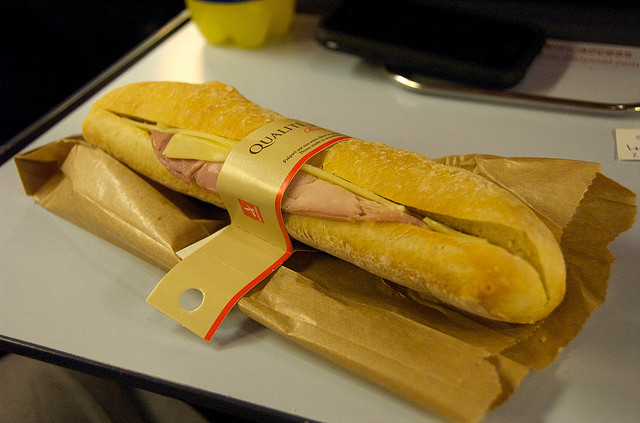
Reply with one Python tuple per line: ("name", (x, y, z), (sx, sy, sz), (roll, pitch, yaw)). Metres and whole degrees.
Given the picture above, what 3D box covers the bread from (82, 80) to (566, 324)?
("bread", (-0.012, -0.055, 0.765), (0.739, 0.131, 0.185), (24, 71, 10))
